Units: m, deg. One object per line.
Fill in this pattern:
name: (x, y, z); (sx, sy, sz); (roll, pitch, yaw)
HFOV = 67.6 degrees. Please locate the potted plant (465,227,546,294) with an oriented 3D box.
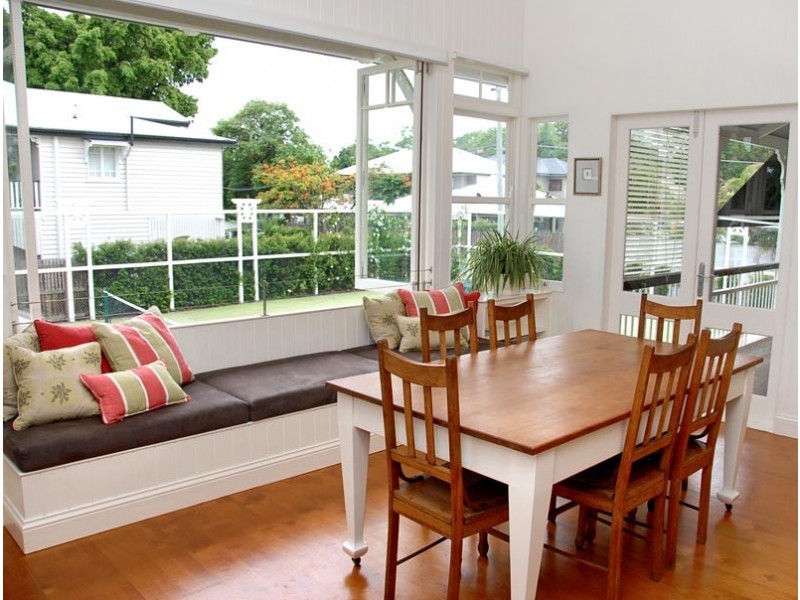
potted plant: (1.050, -0.305, 5.713); (0.729, 0.501, 0.753); (1, 2, 38)

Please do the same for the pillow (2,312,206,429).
pillow: (-1.684, 0.358, 3.393); (0.940, 0.505, 0.679); (-7, 15, -35)

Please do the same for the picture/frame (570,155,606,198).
picture/frame: (1.730, -1.129, 5.449); (0.032, 0.453, 0.398); (-5, 8, -43)

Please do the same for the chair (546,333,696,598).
chair: (1.049, 0.731, 2.833); (0.473, 1.225, 0.780); (9, 15, 32)
